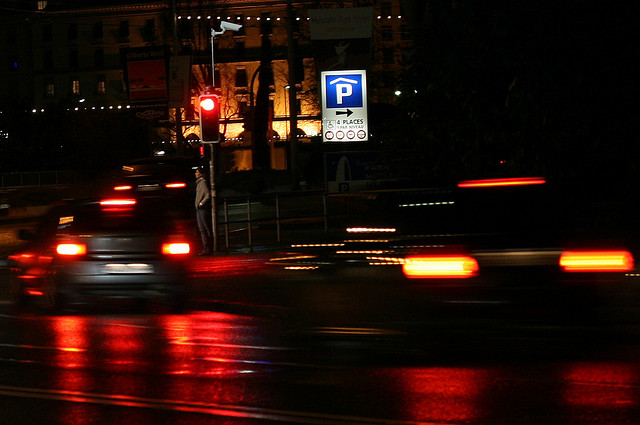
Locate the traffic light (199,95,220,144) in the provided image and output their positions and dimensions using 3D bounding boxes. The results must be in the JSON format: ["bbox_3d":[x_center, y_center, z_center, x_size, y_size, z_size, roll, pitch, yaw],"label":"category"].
[{"bbox_3d":[-2.667,-2.272,21.113,0.457,1.164,0.285,-4,8,-7],"label":"traffic light"}]

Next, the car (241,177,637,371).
[{"bbox_3d":[1.530,0.712,12.182,4.973,1.149,2.720,1,2,34],"label":"car"}]

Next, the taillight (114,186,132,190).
[{"bbox_3d":[-5.078,-0.609,22.225,0.208,0.088,0.439,2,6,27],"label":"taillight"}]

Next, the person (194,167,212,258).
[{"bbox_3d":[-2.924,-0.022,21.826,0.364,2.038,0.759,-4,8,-6],"label":"person"}]

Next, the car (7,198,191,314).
[{"bbox_3d":[-3.856,0.828,15.490,3.502,2.046,1.182,-1,8,8],"label":"car"}]
